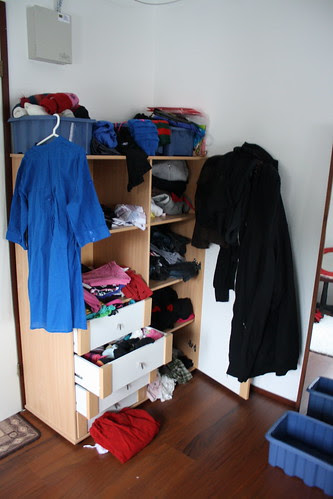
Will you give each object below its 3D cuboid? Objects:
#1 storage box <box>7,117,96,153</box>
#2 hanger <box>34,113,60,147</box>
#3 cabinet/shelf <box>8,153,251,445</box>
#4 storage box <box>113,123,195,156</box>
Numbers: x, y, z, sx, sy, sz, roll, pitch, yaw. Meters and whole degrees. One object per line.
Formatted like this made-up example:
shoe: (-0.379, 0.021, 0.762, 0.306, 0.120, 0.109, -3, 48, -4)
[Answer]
storage box: (-0.469, -0.477, 1.559, 0.258, 0.114, 0.181, -13, 21, -43)
hanger: (-0.467, -0.466, 1.479, 0.105, 0.120, 0.071, 3, 11, 3)
cabinet/shelf: (-0.412, -0.153, 2.926, 1.459, 0.658, 1.980, -5, 25, -21)
storage box: (-0.009, -0.583, 2.046, 0.192, 0.170, 0.551, 11, 14, 38)
